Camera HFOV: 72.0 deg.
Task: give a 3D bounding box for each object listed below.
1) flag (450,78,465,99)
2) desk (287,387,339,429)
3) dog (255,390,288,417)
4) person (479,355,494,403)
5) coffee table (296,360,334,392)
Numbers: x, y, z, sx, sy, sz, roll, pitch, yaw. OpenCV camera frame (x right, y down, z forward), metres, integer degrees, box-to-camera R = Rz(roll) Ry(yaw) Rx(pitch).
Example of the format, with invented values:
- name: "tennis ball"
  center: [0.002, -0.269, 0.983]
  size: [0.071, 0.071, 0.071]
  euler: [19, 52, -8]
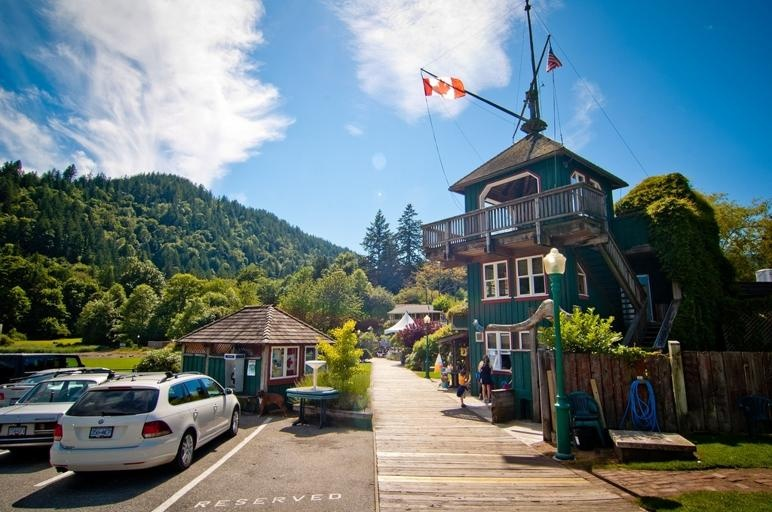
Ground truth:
- name: "flag"
  center: [3.485, -8.506, 26.593]
  size: [0.710, 1.043, 1.130]
  euler: [-1, 2, 3]
- name: "desk"
  center: [-2.838, 6.190, 21.216]
  size: [1.903, 1.384, 1.532]
  euler: [-4, -11, 24]
- name: "dog"
  center: [-5.031, 6.364, 23.189]
  size: [1.328, 1.003, 1.041]
  euler: [-2, 2, -14]
- name: "person"
  center: [4.554, 5.606, 24.539]
  size: [0.574, 2.360, 1.138]
  euler: [-1, 2, 10]
- name: "coffee table"
  center: [-3.165, 4.806, 22.246]
  size: [1.223, 1.477, 1.209]
  euler: [-1, -4, 26]
